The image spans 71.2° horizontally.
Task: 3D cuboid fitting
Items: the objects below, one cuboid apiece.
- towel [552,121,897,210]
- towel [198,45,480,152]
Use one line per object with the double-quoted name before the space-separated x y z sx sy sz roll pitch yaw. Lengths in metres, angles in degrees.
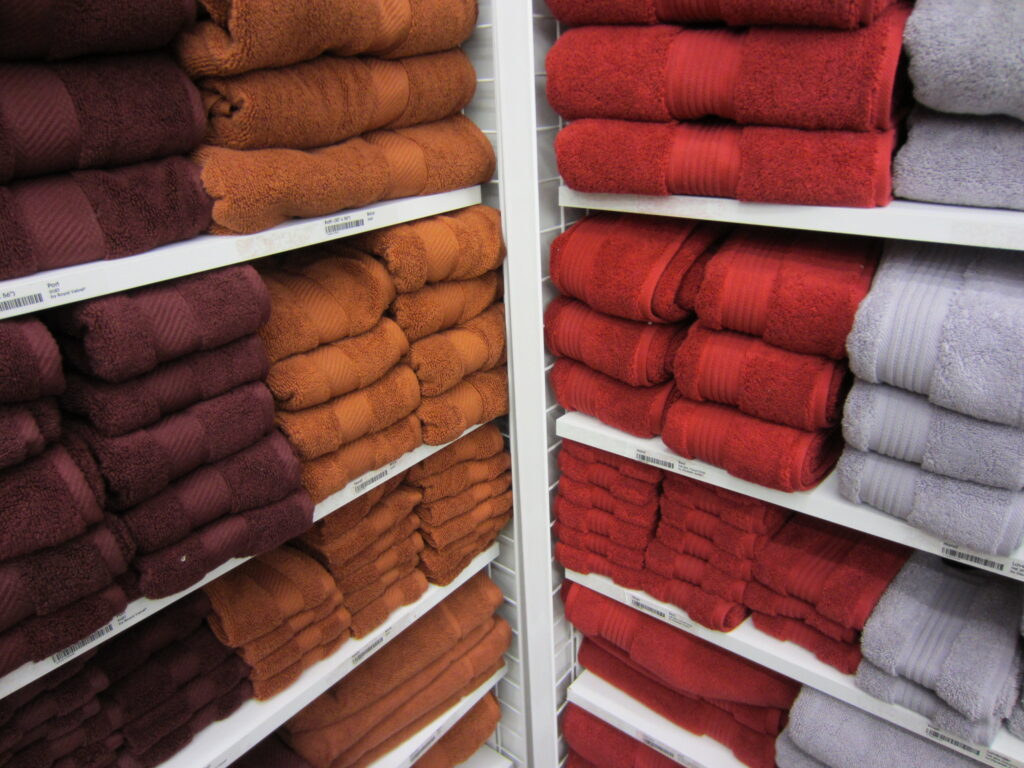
"towel" 0.293 -0.299 0.978 0.222 0.238 0.078 6 -71 30
"towel" -0.245 -0.410 1.028 0.203 0.261 0.081 17 -61 44
